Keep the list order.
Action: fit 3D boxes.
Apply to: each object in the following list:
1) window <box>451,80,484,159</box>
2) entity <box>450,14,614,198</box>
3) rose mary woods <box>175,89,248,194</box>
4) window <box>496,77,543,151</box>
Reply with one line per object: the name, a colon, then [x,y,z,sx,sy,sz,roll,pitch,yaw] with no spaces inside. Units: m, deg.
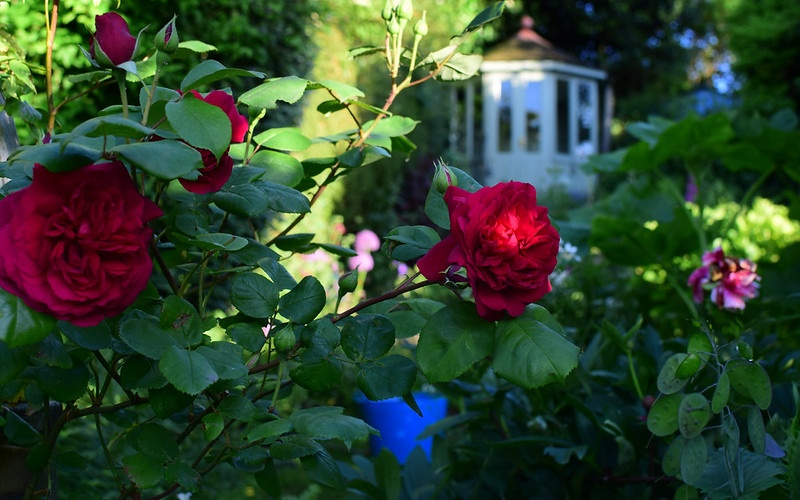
window: [1.032,-1.938,11.729,0.493,1.499,0.124,-4,-1,-9]
entity: [1.694,-2.074,11.273,1.719,2.366,1.667,2,3,33]
rose mary woods: [-0.495,-0.276,2.128,0.179,0.282,0.331,0,12,-6]
window: [1.565,-1.887,11.587,0.054,1.169,0.603,-9,10,-39]
